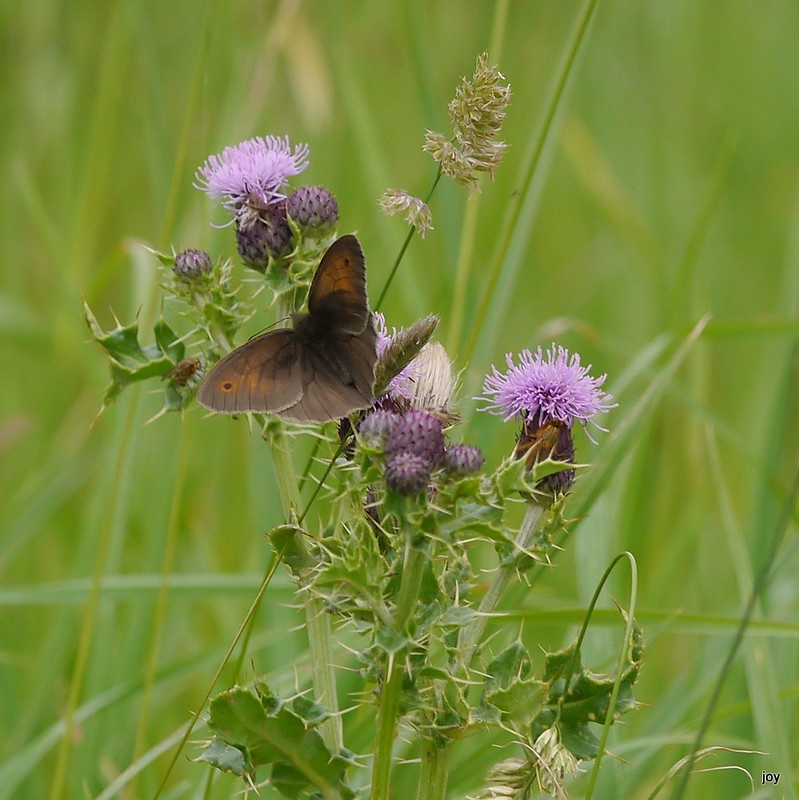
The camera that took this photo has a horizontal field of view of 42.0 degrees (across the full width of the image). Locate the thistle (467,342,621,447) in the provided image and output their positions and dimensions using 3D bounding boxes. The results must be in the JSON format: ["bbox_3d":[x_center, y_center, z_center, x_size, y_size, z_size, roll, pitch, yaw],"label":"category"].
[{"bbox_3d":[0.420,-0.046,3.085,0.295,0.257,0.288,2,-1,-43],"label":"thistle"}]
